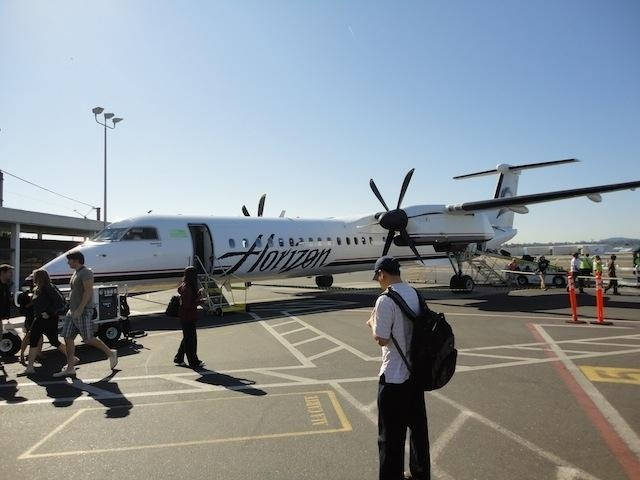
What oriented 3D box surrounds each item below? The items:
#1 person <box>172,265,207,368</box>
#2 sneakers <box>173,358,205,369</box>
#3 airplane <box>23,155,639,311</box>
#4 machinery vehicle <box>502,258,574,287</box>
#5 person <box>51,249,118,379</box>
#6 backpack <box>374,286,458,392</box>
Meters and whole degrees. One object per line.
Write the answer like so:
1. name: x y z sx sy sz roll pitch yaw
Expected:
1. person: -2.509 1.424 8.171 0.529 1.861 0.631 -2 2 -18
2. sneakers: -2.532 2.328 8.192 0.646 0.215 0.200 -1 -2 14
3. airplane: 0.281 -0.271 16.855 19.332 5.045 4.186 -1 2 -23
4. machinery vehicle: 10.861 1.701 22.060 2.842 1.030 1.856 -2 0 29
5. person: -4.207 1.284 7.642 0.930 2.192 0.849 -2 3 -29
6. backpack: 0.968 0.934 4.142 0.636 0.922 0.207 -1 2 7
